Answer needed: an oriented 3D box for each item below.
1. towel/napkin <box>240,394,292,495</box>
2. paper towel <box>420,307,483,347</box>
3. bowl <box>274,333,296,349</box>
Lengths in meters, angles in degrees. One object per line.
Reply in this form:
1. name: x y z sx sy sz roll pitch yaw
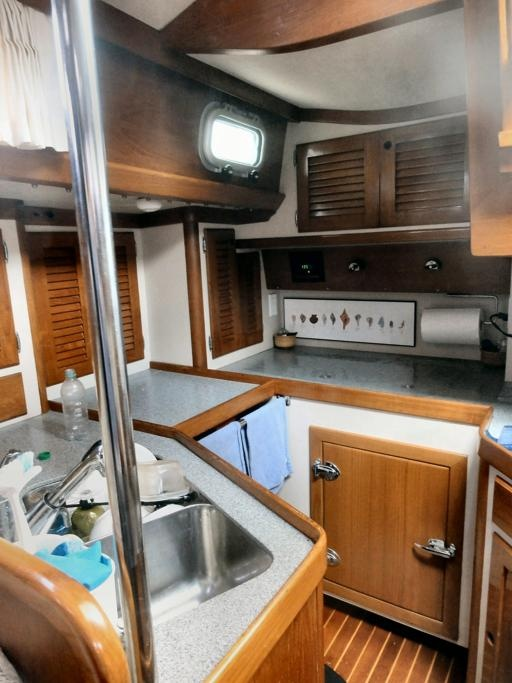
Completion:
1. towel/napkin: 0.038 0.410 2.039 0.063 0.402 0.387 -1 12 27
2. paper towel: 0.874 -0.070 2.214 0.219 0.168 0.161 2 13 31
3. bowl: 0.176 -0.002 2.918 0.094 0.058 0.091 0 9 0
